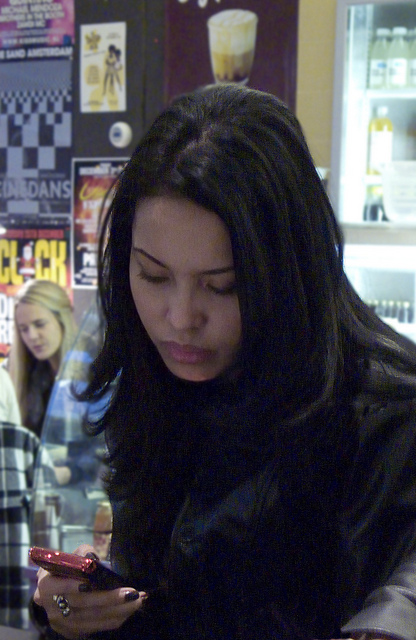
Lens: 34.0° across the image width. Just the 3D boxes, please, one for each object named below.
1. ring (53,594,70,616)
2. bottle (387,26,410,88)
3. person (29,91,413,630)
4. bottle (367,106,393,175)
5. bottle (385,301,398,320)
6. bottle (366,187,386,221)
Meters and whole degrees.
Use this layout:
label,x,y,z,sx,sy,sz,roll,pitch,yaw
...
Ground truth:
label,x,y,z,sx,sy,sz,roll,pitch,yaw
ring,-0.224,0.439,1.048,0.019,0.032,0.007,-18,1,-3
bottle,0.560,-0.765,1.995,0.068,0.169,0.042,0,4,2
person,0.017,0.086,1.061,0.584,0.845,0.321,1,5,15
bottle,0.525,-0.553,2.086,0.070,0.213,0.069,0,4,0
bottle,0.599,-0.032,2.217,0.021,0.043,0.042,-3,28,2
bottle,0.519,-0.357,2.106,0.060,0.102,0.041,4,6,44
